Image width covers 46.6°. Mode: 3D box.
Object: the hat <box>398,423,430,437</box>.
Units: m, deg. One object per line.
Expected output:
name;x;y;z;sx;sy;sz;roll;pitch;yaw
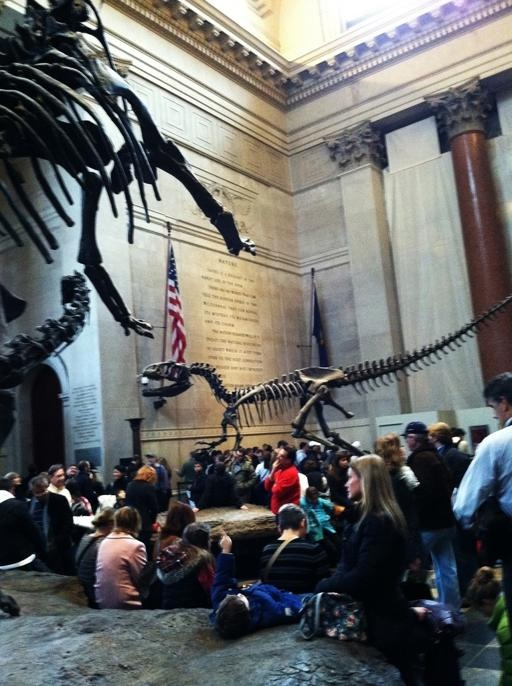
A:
hat;1.111;0.605;4.179;0.118;0.074;0.161;10;-12;-40

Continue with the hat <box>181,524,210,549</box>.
hat;-0.302;1.024;3.160;0.126;0.144;0.156;5;-5;-2

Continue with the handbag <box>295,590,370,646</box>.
handbag;0.302;1.069;2.295;0.230;0.184;0.171;-2;-25;0

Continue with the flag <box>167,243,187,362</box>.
flag;-1.555;-0.789;11.325;0.288;2.420;1.064;-4;-8;-9

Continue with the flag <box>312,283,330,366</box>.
flag;1.708;-0.526;16.129;0.311;2.370;0.823;-8;-9;16
